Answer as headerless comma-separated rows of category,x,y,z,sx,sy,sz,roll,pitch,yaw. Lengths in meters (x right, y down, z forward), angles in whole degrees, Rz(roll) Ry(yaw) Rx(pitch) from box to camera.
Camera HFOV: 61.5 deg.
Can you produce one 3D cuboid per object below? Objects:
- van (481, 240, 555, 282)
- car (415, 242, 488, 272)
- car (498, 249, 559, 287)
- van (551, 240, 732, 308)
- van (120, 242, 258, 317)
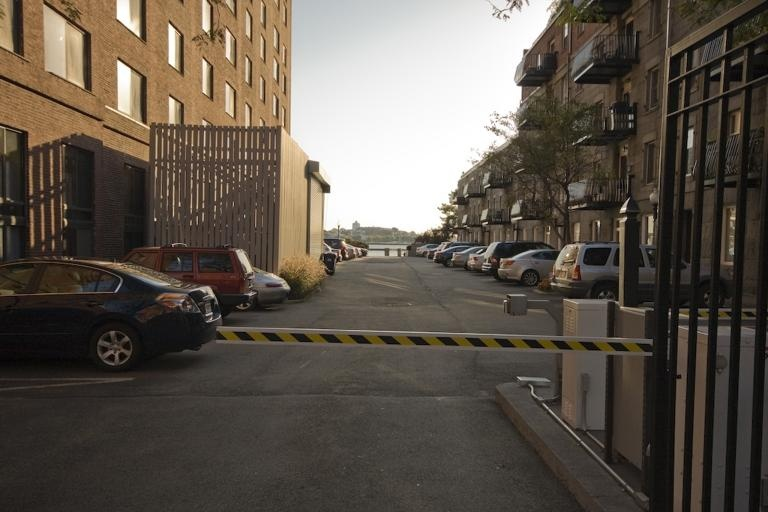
van,5.971,0.146,31.018,3.259,1.341,1.551,-4,3,-10
car,5.056,0.020,47.395,2.220,1.671,5.870,0,6,-2
car,6.030,0.485,27.006,2.541,0.906,1.215,-3,4,-10
van,7.075,0.539,18.813,4.049,1.807,1.920,1,6,9
van,-4.541,0.543,15.259,2.628,1.341,1.494,3,-2,4
